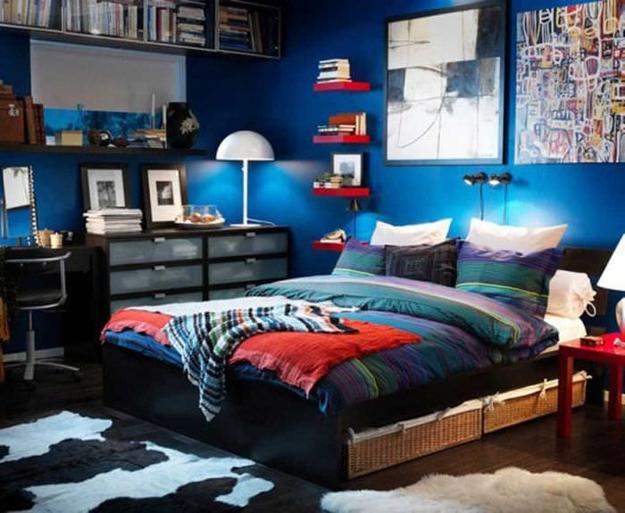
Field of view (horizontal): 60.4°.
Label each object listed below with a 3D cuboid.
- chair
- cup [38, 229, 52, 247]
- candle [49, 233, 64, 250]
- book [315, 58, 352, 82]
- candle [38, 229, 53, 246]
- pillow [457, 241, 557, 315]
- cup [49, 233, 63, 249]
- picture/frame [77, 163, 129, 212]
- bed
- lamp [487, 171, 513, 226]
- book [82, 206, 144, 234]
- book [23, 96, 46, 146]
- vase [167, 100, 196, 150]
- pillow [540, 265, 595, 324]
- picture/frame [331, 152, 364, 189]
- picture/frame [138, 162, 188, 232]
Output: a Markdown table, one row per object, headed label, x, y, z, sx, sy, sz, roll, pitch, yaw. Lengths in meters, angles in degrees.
| label | x | y | z | sx | sy | sz | roll | pitch | yaw |
| --- | --- | --- | --- | --- | --- | --- | --- | --- | --- |
| chair | -2.088 | 0.424 | 4.178 | 0.489 | 0.977 | 0.914 | 0 | 1 | -23 |
| cup | -2.191 | -0.151 | 4.411 | 0.136 | 0.144 | 0.134 | 2 | 5 | 0 |
| candle | -2.084 | -0.120 | 4.375 | 0.123 | 0.129 | 0.120 | 1 | 6 | -12 |
| book | 0.191 | -1.659 | 4.843 | 0.236 | 0.219 | 0.335 | -5 | 8 | -42 |
| candle | -2.198 | -0.149 | 4.382 | 0.126 | 0.133 | 0.125 | 1 | 6 | -12 |
| pillow | 1.216 | 0.090 | 3.513 | 0.701 | 0.463 | 0.227 | 9 | -14 | 45 |
| cup | -2.096 | -0.125 | 4.389 | 0.119 | 0.127 | 0.118 | 2 | 6 | 0 |
| picture/frame | -1.915 | -0.618 | 4.823 | 0.486 | 0.524 | 0.044 | -2 | -1 | -43 |
| bed | 0.376 | 0.611 | 2.848 | 1.392 | 0.562 | 1.405 | -5 | 7 | -40 |
| lamp | 1.394 | -0.434 | 4.000 | 0.182 | 0.386 | 0.110 | 1 | 1 | 28 |
| book | -1.741 | -0.304 | 4.617 | 0.479 | 0.247 | 0.287 | 0 | 1 | -15 |
| book | -2.220 | -1.067 | 4.245 | 0.106 | 0.368 | 0.189 | 1 | 1 | 11 |
| vase | -1.281 | -1.275 | 5.194 | 0.280 | 0.442 | 0.343 | 0 | 18 | -24 |
| pillow | 1.703 | 0.219 | 3.544 | 0.304 | 0.313 | 0.382 | 0 | 5 | -30 |
| picture/frame | 0.327 | -0.781 | 4.884 | 0.353 | 0.326 | 0.035 | 8 | 10 | 44 |
| picture/frame | -1.479 | -0.566 | 5.195 | 0.040 | 0.920 | 0.699 | -1 | 2 | 40 |
